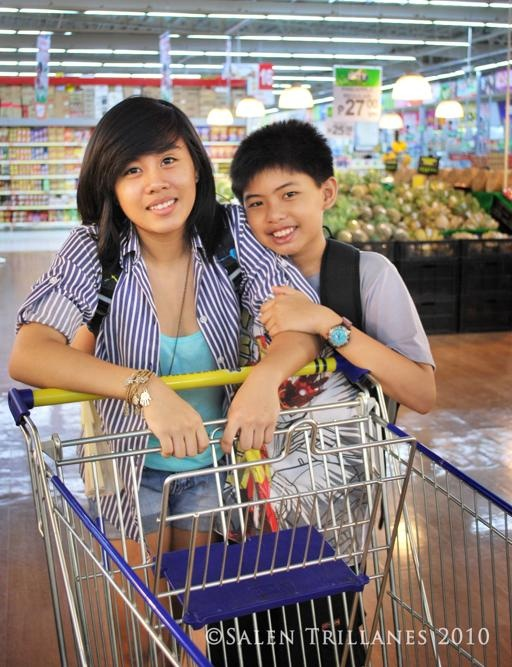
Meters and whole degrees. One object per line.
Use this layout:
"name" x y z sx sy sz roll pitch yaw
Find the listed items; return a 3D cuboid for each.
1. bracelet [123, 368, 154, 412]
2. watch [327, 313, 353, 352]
"bracelet" -0.196 0.093 0.984 0.059 0.054 0.023 -14 -28 39
"watch" 0.182 -0.001 1.278 0.071 0.047 0.066 -47 -6 -19
